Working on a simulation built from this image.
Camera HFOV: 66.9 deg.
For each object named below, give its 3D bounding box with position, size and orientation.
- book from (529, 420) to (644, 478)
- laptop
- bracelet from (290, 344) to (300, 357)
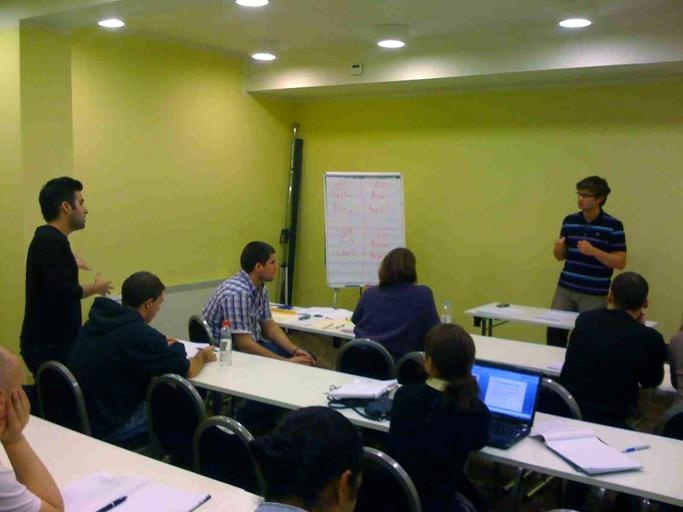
[{"bbox_3d":[1.087,0.868,2.356,0.319,0.138,0.425,4,4,-14],"label":"book"},{"bbox_3d":[0.799,0.732,2.534,0.343,0.217,0.313,11,26,37],"label":"laptop"},{"bbox_3d":[-0.343,0.716,3.881,0.060,0.080,0.037,-3,-10,7],"label":"bracelet"}]
